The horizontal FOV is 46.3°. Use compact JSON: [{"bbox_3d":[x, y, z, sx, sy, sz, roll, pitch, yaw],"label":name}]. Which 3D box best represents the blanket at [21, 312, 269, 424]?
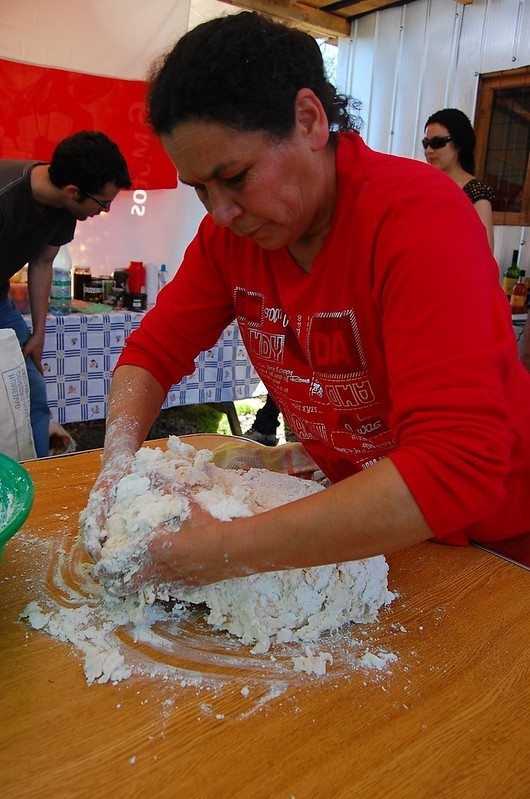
[{"bbox_3d":[-0.800,-0.189,3.263,0.838,0.282,0.813,-14,23,-36],"label":"blanket"}]

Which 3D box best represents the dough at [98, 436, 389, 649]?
[{"bbox_3d":[-0.045,0.240,1.017,0.376,0.158,0.304,18,25,12],"label":"dough"}]
